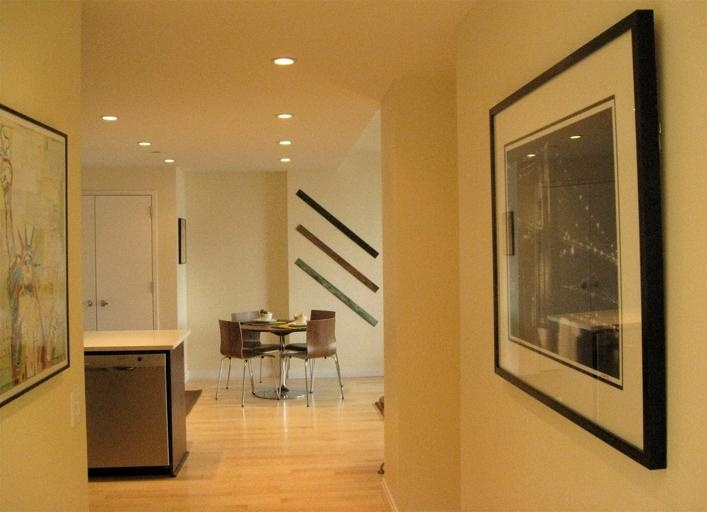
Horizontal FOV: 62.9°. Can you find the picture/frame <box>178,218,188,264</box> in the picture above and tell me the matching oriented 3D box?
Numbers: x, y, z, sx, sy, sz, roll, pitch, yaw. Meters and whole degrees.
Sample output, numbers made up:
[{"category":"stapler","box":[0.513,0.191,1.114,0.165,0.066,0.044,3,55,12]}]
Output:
[{"category":"picture/frame","box":[-1.918,-0.159,6.510,0.033,0.524,0.441,4,-2,-27]}]

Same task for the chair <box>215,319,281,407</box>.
[{"category":"chair","box":[-1.053,1.018,5.680,0.420,0.756,0.456,1,2,39]}]

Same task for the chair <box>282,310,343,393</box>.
[{"category":"chair","box":[-0.422,0.976,5.696,0.480,0.758,0.491,0,2,-27]}]

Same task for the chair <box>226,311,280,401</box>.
[{"category":"chair","box":[-1.014,0.984,5.760,0.356,0.581,0.334,-1,4,-16]}]

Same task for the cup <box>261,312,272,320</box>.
[{"category":"cup","box":[-0.888,0.621,5.951,0.070,0.088,0.141,1,2,22]}]

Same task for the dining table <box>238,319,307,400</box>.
[{"category":"dining table","box":[-0.732,1.062,5.882,0.755,0.780,0.787,2,10,-1]}]

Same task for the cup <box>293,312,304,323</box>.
[{"category":"cup","box":[-0.556,0.640,5.860,0.092,0.067,0.075,-3,-5,22]}]

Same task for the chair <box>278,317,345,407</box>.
[{"category":"chair","box":[-0.421,1.016,5.697,0.459,0.821,0.472,-2,2,-40]}]
